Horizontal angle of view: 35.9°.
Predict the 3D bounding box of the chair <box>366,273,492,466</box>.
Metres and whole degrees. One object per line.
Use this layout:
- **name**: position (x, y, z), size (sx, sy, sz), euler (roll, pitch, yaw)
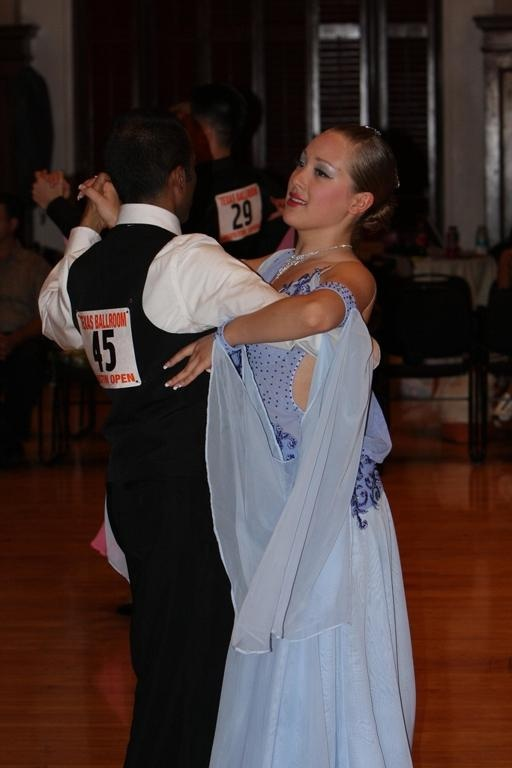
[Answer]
- **chair**: position (1.097, -0.128, 5.069), size (0.744, 1.170, 0.750), euler (-2, 0, 21)
